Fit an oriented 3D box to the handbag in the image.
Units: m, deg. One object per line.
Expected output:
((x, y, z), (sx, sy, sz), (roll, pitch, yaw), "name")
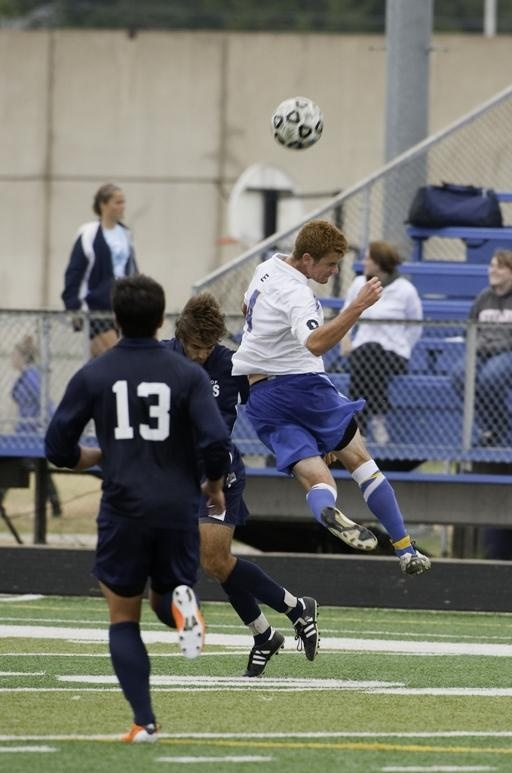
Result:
((1.447, -1.287, 11.015), (0.554, 0.226, 0.313), (-1, 22, 1), "handbag")

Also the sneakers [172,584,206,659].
((-0.258, 0.848, 5.631), (0.108, 0.260, 0.121), (-6, -19, -5), "sneakers")

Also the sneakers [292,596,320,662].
((0.249, 1.079, 6.930), (0.148, 0.306, 0.105), (-4, -4, -12), "sneakers")

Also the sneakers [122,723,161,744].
((-0.419, 1.262, 5.596), (0.148, 0.066, 0.059), (-4, -14, 21), "sneakers")

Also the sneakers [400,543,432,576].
((0.742, 0.800, 7.080), (0.148, 0.099, 0.251), (-17, -1, 4), "sneakers")

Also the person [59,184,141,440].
((-0.934, -0.551, 9.577), (0.514, 1.380, 0.334), (-8, 19, -36), "person")

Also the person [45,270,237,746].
((-0.446, 0.442, 5.716), (0.676, 1.715, 0.402), (2, 1, -1), "person")

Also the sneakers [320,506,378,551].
((0.416, 0.628, 6.797), (0.189, 0.184, 0.273), (1, 1, -28), "sneakers")
